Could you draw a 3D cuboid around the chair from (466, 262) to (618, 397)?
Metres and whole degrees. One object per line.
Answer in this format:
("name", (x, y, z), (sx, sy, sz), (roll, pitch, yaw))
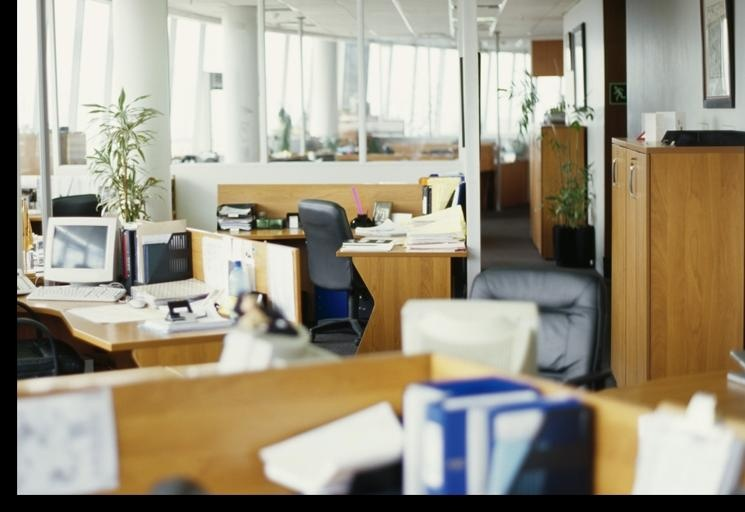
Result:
("chair", (0.639, 0.236, 2.096), (0.439, 0.604, 0.534), (0, -4, 7))

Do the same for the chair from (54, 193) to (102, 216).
("chair", (-2.764, -0.460, 5.595), (0.285, 0.170, 0.285), (0, 9, -1))

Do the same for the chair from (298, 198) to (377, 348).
("chair", (-0.154, 0.101, 4.346), (0.674, 0.979, 0.675), (7, 10, 39))

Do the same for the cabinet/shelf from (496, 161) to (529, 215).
("cabinet/shelf", (2.897, -1.383, 12.493), (0.605, 1.064, 1.159), (1, 6, 24))

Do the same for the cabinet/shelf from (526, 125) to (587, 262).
("cabinet/shelf", (2.195, -0.721, 7.039), (0.507, 1.563, 1.461), (-1, 15, 8))

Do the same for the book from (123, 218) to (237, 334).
("book", (-1.006, -0.001, 2.948), (0.562, 0.319, 0.778), (-1, 9, -16))

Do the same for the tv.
("tv", (-1.623, -0.028, 3.368), (0.365, 0.338, 0.199), (1, -1, 2))

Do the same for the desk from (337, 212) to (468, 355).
("desk", (0.195, 0.093, 3.642), (0.762, 0.726, 1.054), (1, 8, 8))

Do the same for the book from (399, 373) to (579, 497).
("book", (0.200, 0.296, 1.155), (0.323, 0.300, 0.215), (0, 3, -25))

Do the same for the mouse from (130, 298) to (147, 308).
("mouse", (-1.172, 0.233, 3.016), (0.053, 0.026, 0.052), (0, 7, -7))
